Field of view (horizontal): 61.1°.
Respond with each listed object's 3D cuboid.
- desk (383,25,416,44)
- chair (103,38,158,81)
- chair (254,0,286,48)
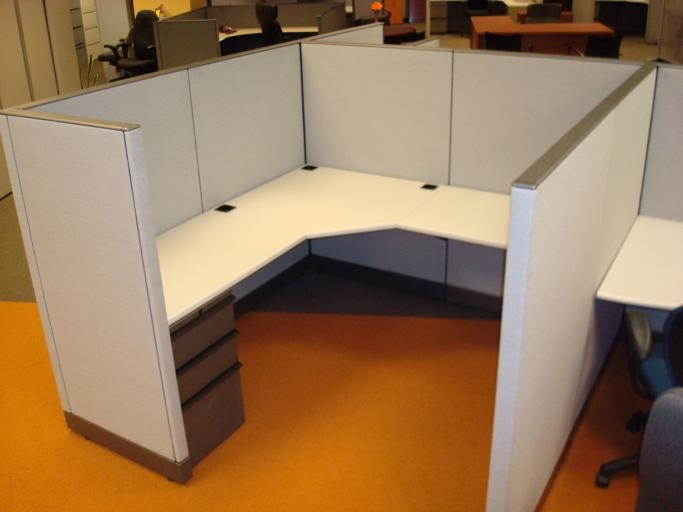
[{"bbox_3d":[0.884,-3.359,8.780,0.451,0.208,1.247,0,26,5],"label":"desk"},{"bbox_3d":[-2.874,-2.618,7.770,0.630,0.504,1.089,-14,28,-24],"label":"chair"},{"bbox_3d":[-0.953,-3.113,7.824,0.286,0.553,0.811,-13,27,-23],"label":"chair"}]
